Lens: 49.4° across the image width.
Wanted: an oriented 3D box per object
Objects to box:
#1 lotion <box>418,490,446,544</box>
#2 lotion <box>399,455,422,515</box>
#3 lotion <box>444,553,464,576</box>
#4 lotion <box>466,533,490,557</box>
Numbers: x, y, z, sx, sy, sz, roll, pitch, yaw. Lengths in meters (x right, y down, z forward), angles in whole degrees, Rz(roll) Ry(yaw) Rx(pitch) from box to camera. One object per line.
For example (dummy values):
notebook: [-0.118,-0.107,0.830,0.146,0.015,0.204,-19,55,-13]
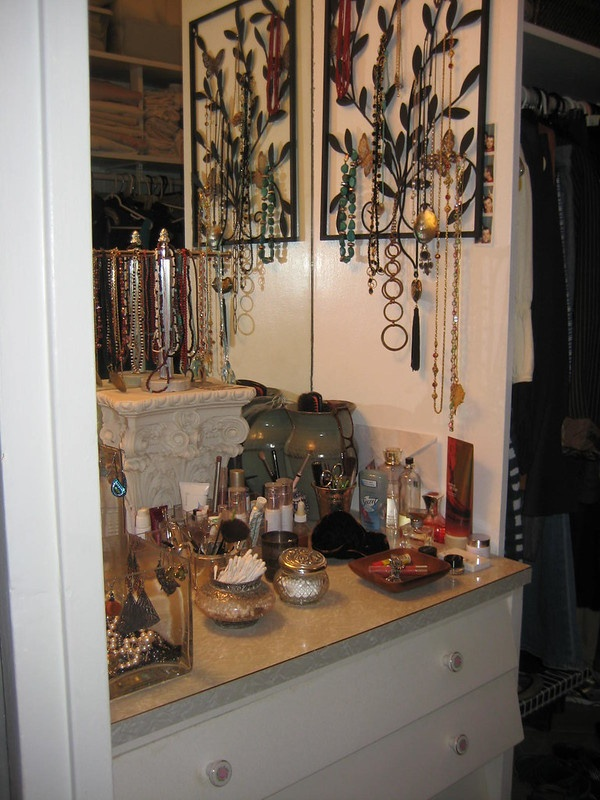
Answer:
lotion: [0.292,0.265,1.421,0.036,0.115,0.069,-4,3,-22]
lotion: [0.250,0.201,1.487,0.048,0.139,0.050,-1,0,14]
lotion: [0.289,0.308,1.225,0.034,0.027,0.035,0,-3,2]
lotion: [0.358,0.285,1.301,0.038,0.035,0.039,1,2,28]
